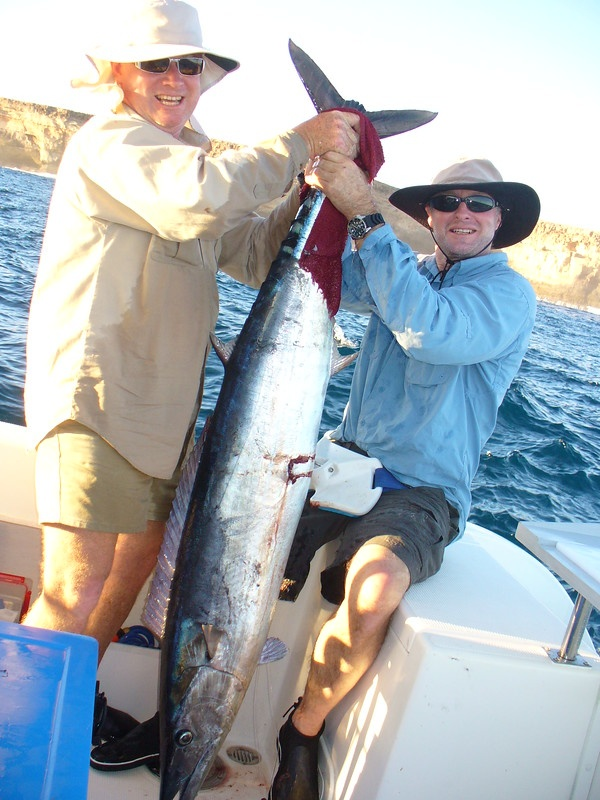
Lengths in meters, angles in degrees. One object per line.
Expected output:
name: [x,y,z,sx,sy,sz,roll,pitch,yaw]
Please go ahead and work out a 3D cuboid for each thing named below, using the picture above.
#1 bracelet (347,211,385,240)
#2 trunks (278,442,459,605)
bracelet: [0.179,-0.501,1.998,0.092,0.056,0.094,-18,-2,-37]
trunks: [0.235,0.407,2.285,0.158,0.502,0.456,38,23,-49]
